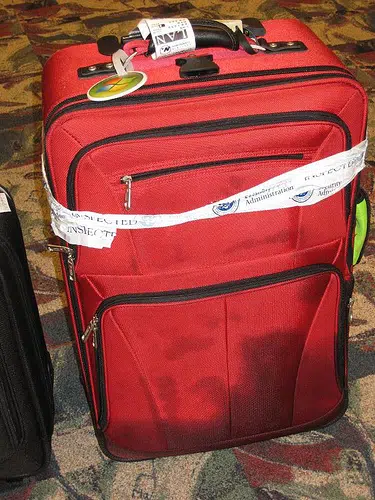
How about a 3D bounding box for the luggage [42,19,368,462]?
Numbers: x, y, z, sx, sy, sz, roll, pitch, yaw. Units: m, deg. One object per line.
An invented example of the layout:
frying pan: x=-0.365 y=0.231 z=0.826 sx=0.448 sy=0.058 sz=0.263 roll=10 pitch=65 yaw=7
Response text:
luggage: x=0.021 y=0.007 z=0.818 sx=0.470 sy=0.687 sz=0.328 roll=-11 pitch=41 yaw=-7
